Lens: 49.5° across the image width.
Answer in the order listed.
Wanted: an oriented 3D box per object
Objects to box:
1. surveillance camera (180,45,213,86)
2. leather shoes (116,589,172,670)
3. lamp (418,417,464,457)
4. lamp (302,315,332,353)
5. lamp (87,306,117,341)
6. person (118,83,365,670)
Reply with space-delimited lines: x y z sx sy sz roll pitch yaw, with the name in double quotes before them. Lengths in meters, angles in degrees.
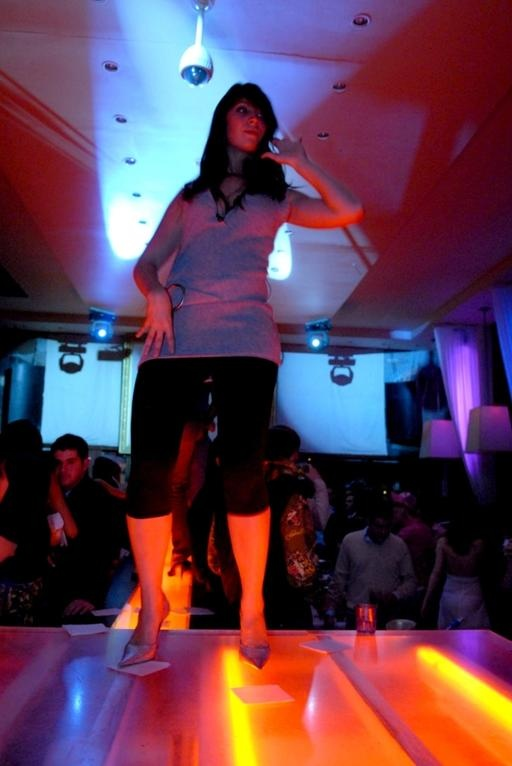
"surveillance camera" -0.250 -1.270 2.301 0.122 0.162 0.142 -1 -8 -11
"leather shoes" -0.181 0.418 0.932 0.039 0.055 0.127 -6 -9 9
"lamp" 2.352 0.760 7.208 0.531 0.514 0.433 3 -23 -2
"lamp" 0.903 -0.688 7.962 0.472 0.511 0.400 -1 -11 10
"lamp" -2.117 -0.823 7.791 0.408 0.531 0.402 1 -10 -10
"person" -0.025 -0.112 1.127 0.452 1.192 0.271 6 -11 -14
